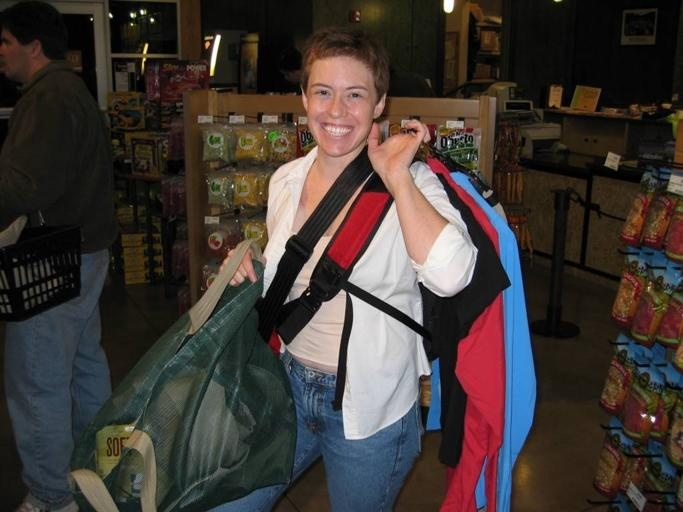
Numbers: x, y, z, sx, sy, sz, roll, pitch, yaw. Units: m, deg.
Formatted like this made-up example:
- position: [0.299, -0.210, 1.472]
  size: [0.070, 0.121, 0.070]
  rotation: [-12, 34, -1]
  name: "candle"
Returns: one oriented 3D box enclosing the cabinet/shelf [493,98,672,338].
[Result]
- position: [2.010, -0.329, 4.595]
  size: [0.961, 2.053, 1.953]
  rotation: [-4, 14, -17]
  name: "cabinet/shelf"
